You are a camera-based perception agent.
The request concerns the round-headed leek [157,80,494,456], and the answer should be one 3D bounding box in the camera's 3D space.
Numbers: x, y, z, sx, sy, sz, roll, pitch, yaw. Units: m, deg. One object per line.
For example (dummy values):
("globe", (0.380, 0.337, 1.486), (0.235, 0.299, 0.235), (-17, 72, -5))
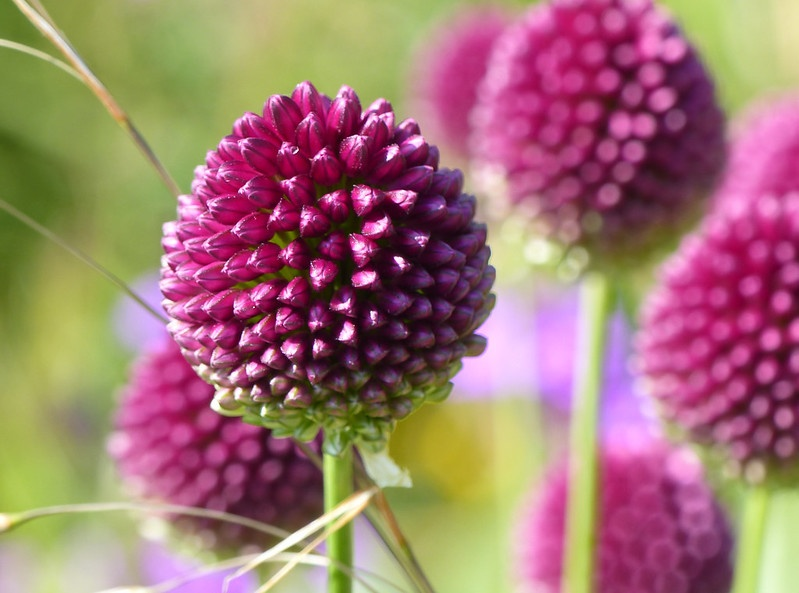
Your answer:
("round-headed leek", (-0.065, -0.043, 0.994), (0.355, 0.429, 0.386), (1, 36, 0))
